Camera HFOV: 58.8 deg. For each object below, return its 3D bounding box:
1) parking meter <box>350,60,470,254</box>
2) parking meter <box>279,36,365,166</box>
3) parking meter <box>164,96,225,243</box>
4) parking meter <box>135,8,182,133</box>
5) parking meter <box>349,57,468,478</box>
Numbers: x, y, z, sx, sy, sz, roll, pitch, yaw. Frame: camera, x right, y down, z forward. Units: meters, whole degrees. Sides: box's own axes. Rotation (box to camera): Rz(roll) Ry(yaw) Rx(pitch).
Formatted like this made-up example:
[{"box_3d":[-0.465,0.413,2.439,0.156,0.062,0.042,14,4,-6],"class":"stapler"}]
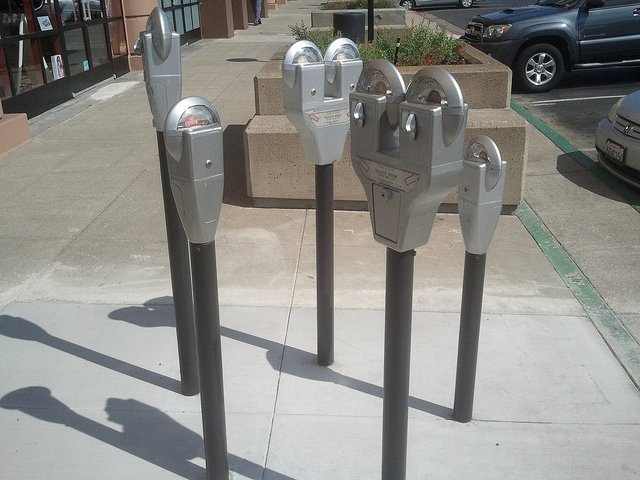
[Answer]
[{"box_3d":[0.393,-0.413,2.827,0.276,0.865,0.641,-17,30,-32],"class":"parking meter"},{"box_3d":[0.031,-0.919,3.803,0.570,0.743,0.482,-8,26,-16],"class":"parking meter"},{"box_3d":[-0.610,-0.354,2.880,0.288,0.689,0.267,-21,32,-37],"class":"parking meter"},{"box_3d":[-0.958,-1.022,3.442,0.267,0.670,0.360,-9,26,-18],"class":"parking meter"},{"box_3d":[0.392,0.183,3.007,0.438,2.098,0.709,-13,27,-25],"class":"parking meter"}]
